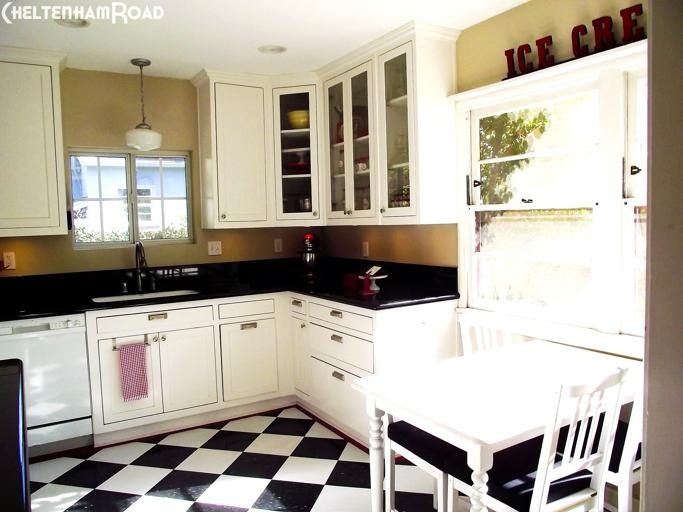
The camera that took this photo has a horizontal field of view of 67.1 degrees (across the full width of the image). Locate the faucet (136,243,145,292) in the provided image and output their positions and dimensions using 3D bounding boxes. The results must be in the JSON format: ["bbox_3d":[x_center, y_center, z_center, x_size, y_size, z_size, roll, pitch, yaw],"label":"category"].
[{"bbox_3d":[-1.574,0.086,4.048,0.075,0.393,0.199,-5,9,-20],"label":"faucet"}]

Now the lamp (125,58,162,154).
[{"bbox_3d":[-1.544,-1.141,3.977,0.240,0.644,0.431,-5,9,-20],"label":"lamp"}]

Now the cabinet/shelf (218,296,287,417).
[{"bbox_3d":[-0.760,0.765,4.165,0.585,0.815,0.596,1,6,45],"label":"cabinet/shelf"}]

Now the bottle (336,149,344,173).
[{"bbox_3d":[-0.005,-0.748,4.064,0.038,0.143,0.159,0,7,-24],"label":"bottle"}]

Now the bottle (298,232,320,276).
[{"bbox_3d":[-0.292,-0.005,4.688,0.149,0.390,0.414,-2,9,-3],"label":"bottle"}]

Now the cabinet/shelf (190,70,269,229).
[{"bbox_3d":[-0.855,-0.842,4.169,0.512,1.219,0.266,-2,9,0],"label":"cabinet/shelf"}]

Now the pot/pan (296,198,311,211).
[{"bbox_3d":[-0.318,-0.432,4.309,0.073,0.071,0.134,10,18,-4],"label":"pot/pan"}]

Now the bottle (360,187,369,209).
[{"bbox_3d":[0.173,-0.415,3.817,0.023,0.146,0.122,-5,9,-24],"label":"bottle"}]

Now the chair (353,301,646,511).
[{"bbox_3d":[0.737,0.905,2.468,1.090,0.699,0.806,-7,10,-31],"label":"chair"}]

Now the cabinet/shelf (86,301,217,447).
[{"bbox_3d":[-1.424,0.779,3.906,0.928,0.838,0.601,-3,-1,-35],"label":"cabinet/shelf"}]

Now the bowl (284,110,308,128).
[{"bbox_3d":[-0.370,-1.114,4.265,0.155,0.092,0.153,-1,0,0],"label":"bowl"}]

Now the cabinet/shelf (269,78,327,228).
[{"bbox_3d":[-0.355,-0.828,4.260,0.424,1.124,0.149,-1,3,17],"label":"cabinet/shelf"}]

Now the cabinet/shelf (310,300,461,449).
[{"bbox_3d":[0.222,0.733,3.808,0.717,0.967,1.060,-5,7,-33],"label":"cabinet/shelf"}]
